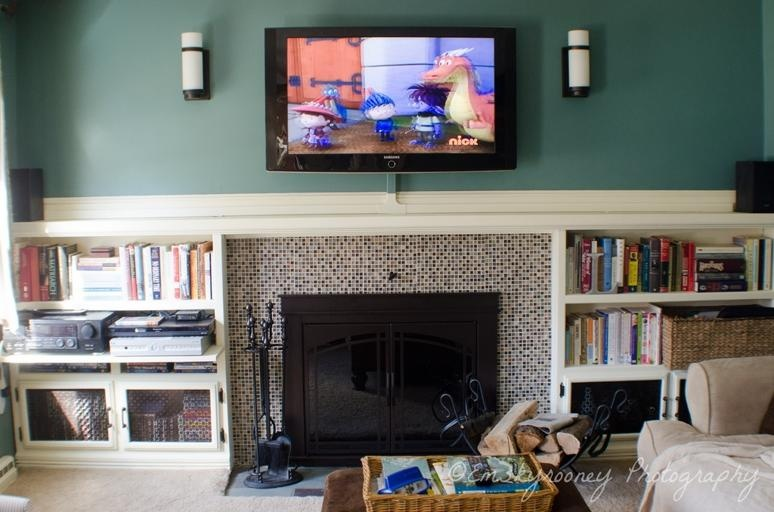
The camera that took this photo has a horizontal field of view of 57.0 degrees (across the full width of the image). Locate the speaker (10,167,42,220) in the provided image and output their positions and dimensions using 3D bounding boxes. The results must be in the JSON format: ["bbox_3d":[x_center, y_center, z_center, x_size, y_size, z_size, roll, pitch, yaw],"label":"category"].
[{"bbox_3d":[-2.496,-0.419,4.933,0.138,0.360,0.214,1,8,-6],"label":"speaker"}]

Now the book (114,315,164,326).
[{"bbox_3d":[-1.690,0.448,4.846,0.320,0.057,0.143,-4,2,-17],"label":"book"}]

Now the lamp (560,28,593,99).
[{"bbox_3d":[1.298,-1.313,4.897,0.192,0.438,0.118,-3,3,12],"label":"lamp"}]

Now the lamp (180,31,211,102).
[{"bbox_3d":[-1.307,-1.280,4.836,0.204,0.338,0.137,-4,2,-7],"label":"lamp"}]

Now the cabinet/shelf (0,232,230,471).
[{"bbox_3d":[-1.875,0.651,4.905,1.692,1.866,0.606,-1,-1,-1],"label":"cabinet/shelf"}]
